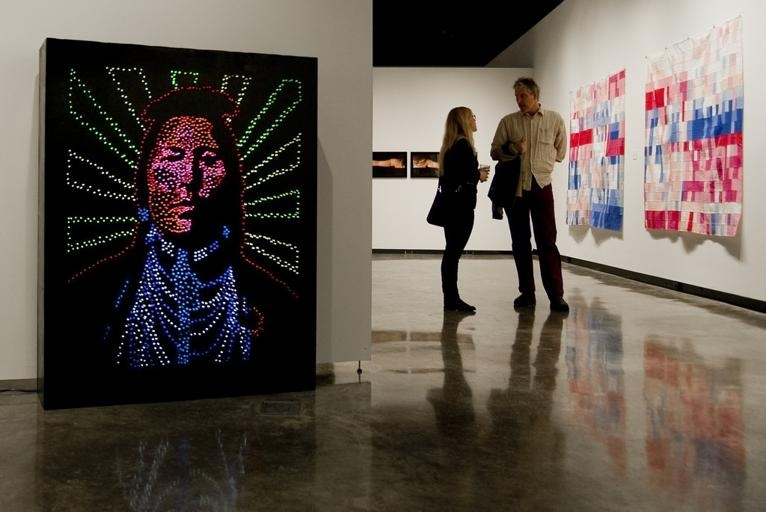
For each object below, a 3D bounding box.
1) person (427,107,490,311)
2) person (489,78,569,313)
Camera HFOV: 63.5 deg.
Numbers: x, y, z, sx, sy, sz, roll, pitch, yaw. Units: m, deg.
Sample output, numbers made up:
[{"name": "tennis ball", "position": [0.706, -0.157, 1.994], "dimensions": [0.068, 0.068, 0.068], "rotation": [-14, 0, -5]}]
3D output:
[{"name": "person", "position": [0.708, -0.428, 5.736], "dimensions": [0.555, 1.851, 0.423], "rotation": [3, 6, 24]}, {"name": "person", "position": [1.403, -0.612, 5.948], "dimensions": [0.736, 2.179, 0.707], "rotation": [1, 5, 8]}]
